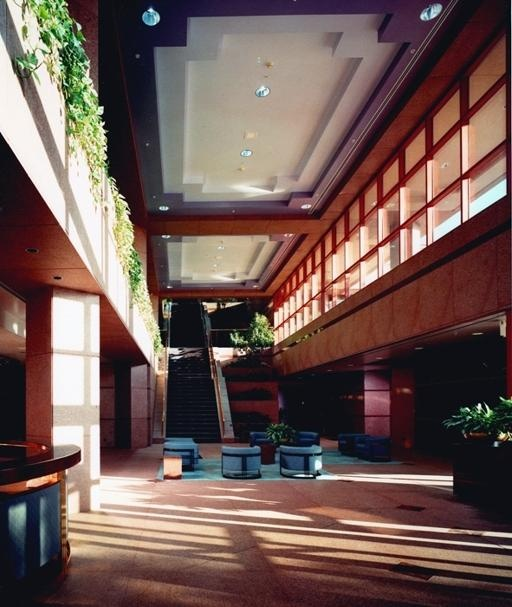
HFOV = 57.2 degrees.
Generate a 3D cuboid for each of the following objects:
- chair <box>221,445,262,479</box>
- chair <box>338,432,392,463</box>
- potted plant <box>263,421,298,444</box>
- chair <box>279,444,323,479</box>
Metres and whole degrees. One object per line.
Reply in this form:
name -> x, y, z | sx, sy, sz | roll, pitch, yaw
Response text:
chair -> -0.327, 3.380, 10.243 | 0.873, 0.613, 0.741 | 1, -2, 0
chair -> 3.091, 4.169, 13.528 | 0.604, 0.680, 1.936 | 2, -15, -17
potted plant -> 0.655, 3.442, 12.347 | 0.602, 0.511, 0.597 | 1, -2, 2
chair -> 0.984, 3.446, 10.302 | 0.773, 0.531, 0.760 | 1, -8, 5
